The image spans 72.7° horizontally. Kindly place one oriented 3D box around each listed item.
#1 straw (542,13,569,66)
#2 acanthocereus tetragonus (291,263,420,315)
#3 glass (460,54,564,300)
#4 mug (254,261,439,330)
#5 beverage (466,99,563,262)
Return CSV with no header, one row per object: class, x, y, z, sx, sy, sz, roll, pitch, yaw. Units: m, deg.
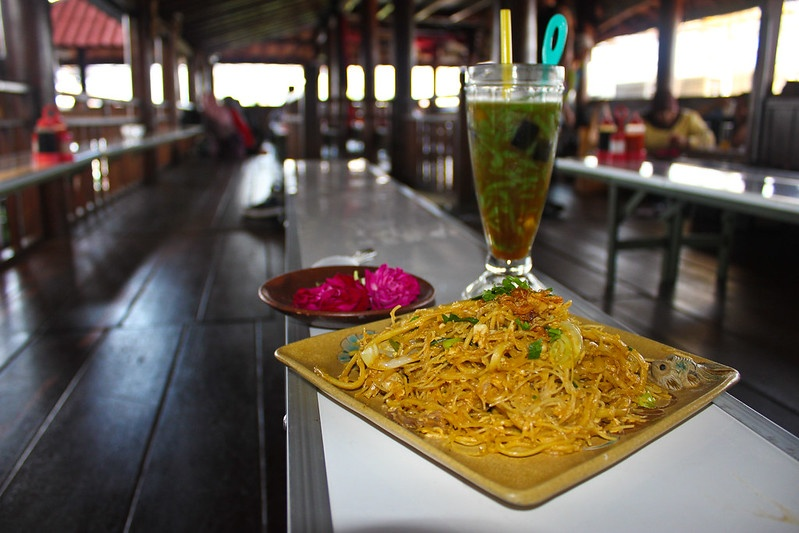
straw,0.235,-0.346,0.845,0.052,0.082,0.010,-6,15,-41
acanthocereus tetragonus,-0.060,0.020,0.870,0.133,0.068,0.175,-6,10,-40
glass,0.164,-0.120,0.902,0.152,0.397,0.162,-1,2,-16
mug,-0.074,0.014,0.899,0.212,0.094,0.259,-9,13,-42
beverage,0.185,-0.153,0.906,0.118,0.280,0.104,-6,17,-17
